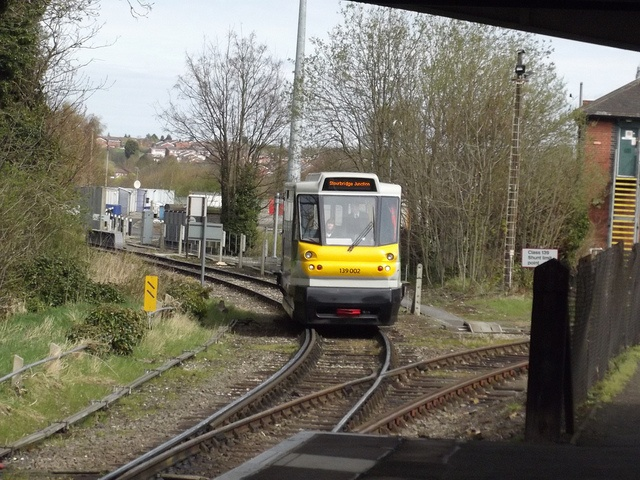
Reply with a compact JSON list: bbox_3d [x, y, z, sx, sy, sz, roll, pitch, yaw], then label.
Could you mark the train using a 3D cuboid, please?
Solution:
[{"bbox_3d":[0.627,0.221,15.447,2.574,3.715,1.218,1,2,3],"label":"train"}]
